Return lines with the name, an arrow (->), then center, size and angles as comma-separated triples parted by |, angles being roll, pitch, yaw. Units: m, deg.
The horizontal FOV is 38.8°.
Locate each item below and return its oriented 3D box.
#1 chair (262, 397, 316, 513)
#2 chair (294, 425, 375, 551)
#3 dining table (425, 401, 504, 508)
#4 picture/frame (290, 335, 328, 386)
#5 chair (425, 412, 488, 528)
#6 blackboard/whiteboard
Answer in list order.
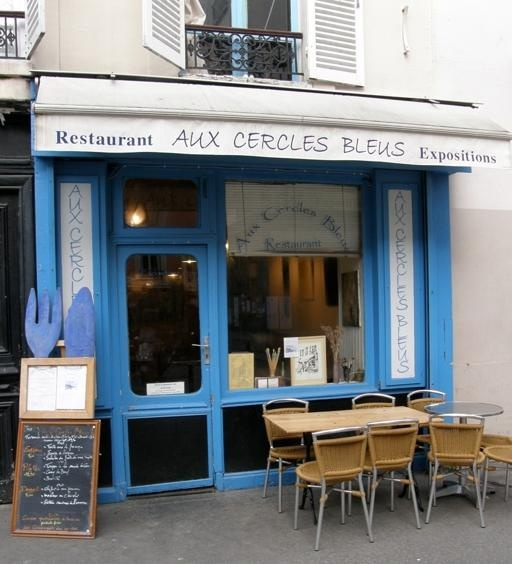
chair -> 0.385, 1.697, 6.865 | 0.489, 1.020, 0.592 | -8, 20, -36
chair -> 0.619, 1.642, 5.998 | 0.494, 1.010, 0.591 | -2, 2, -23
dining table -> 1.926, 1.534, 6.700 | 0.769, 0.951, 0.795 | 0, 4, 27
picture/frame -> 0.531, 0.839, 7.565 | 0.418, 0.596, 0.026 | 3, -9, -21
chair -> 1.740, 1.594, 6.379 | 0.505, 1.019, 0.615 | 0, 2, 24
blackboard/whiteboard -> -1.667, 1.664, 6.055 | 0.759, 1.222, 0.119 | 2, -12, -5
